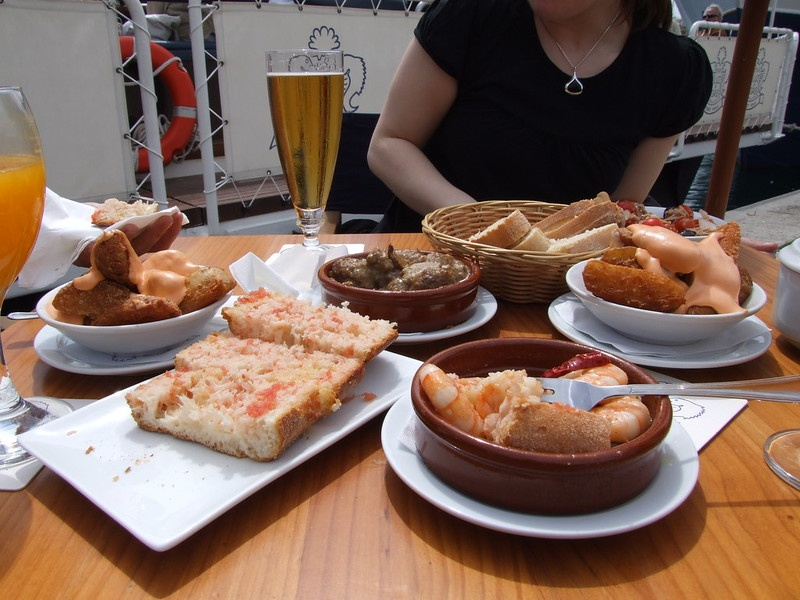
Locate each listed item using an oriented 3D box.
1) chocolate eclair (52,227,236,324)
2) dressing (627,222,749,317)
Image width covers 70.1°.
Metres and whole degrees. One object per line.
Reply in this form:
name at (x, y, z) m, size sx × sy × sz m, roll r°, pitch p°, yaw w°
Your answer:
chocolate eclair at (-0.542, -0.078, 1.203) m, size 0.308 × 0.200 × 0.248 m, roll -10°, pitch 9°, yaw -39°
dressing at (0.626, -0.077, 1.236) m, size 0.170 × 0.177 × 0.228 m, roll -8°, pitch 13°, yaw -38°
